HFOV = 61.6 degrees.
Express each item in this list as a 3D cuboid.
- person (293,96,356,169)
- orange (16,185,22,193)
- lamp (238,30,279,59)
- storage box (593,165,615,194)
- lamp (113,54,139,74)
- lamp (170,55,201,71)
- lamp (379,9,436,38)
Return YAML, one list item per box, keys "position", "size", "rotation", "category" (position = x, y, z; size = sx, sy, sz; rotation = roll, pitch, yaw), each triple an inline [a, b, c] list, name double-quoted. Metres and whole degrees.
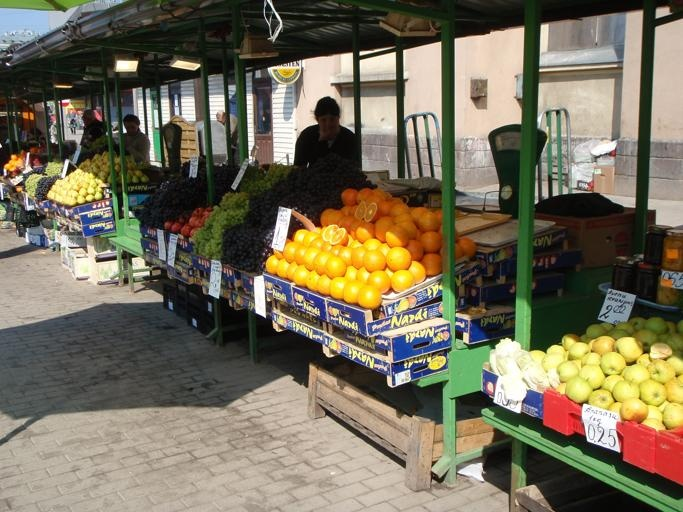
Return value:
- position: [-0.160, -1.489, 7.335]
  size: [0.966, 1.051, 0.598]
  rotation: [1, 20, 1]
  category: "person"
- position: [-7.534, -1.568, 13.363]
  size: [0.166, 0.134, 0.168]
  rotation: [2, 18, 0]
  category: "orange"
- position: [-0.841, -2.082, 5.668]
  size: [0.408, 0.238, 0.299]
  rotation: [-1, 14, 1]
  category: "lamp"
- position: [5.875, -1.692, 12.723]
  size: [0.188, 0.592, 0.602]
  rotation: [-8, 15, -27]
  category: "storage box"
- position: [-2.969, -2.659, 7.885]
  size: [0.300, 0.227, 0.751]
  rotation: [-7, 15, -21]
  category: "lamp"
- position: [-2.031, -2.518, 7.430]
  size: [0.283, 0.147, 0.964]
  rotation: [-4, 15, -7]
  category: "lamp"
- position: [0.542, -1.773, 4.420]
  size: [0.320, 0.165, 0.334]
  rotation: [-11, 27, -26]
  category: "lamp"
